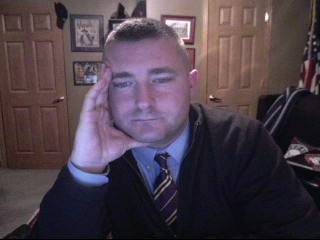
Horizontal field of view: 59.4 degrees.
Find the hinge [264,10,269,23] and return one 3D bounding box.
[{"bbox_3d":[1.551,-1.503,4.075,0.079,0.178,0.020,-4,13,-15],"label":"hinge"}]

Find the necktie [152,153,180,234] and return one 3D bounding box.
[{"bbox_3d":[0.033,0.418,1.634,0.141,0.403,0.191,0,13,3],"label":"necktie"}]

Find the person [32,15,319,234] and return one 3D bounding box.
[{"bbox_3d":[0.051,0.040,1.587,1.417,1.216,0.549,-1,13,1],"label":"person"}]

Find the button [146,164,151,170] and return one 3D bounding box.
[{"bbox_3d":[-0.071,0.286,1.704,0.030,0.033,0.014,2,13,12],"label":"button"}]
